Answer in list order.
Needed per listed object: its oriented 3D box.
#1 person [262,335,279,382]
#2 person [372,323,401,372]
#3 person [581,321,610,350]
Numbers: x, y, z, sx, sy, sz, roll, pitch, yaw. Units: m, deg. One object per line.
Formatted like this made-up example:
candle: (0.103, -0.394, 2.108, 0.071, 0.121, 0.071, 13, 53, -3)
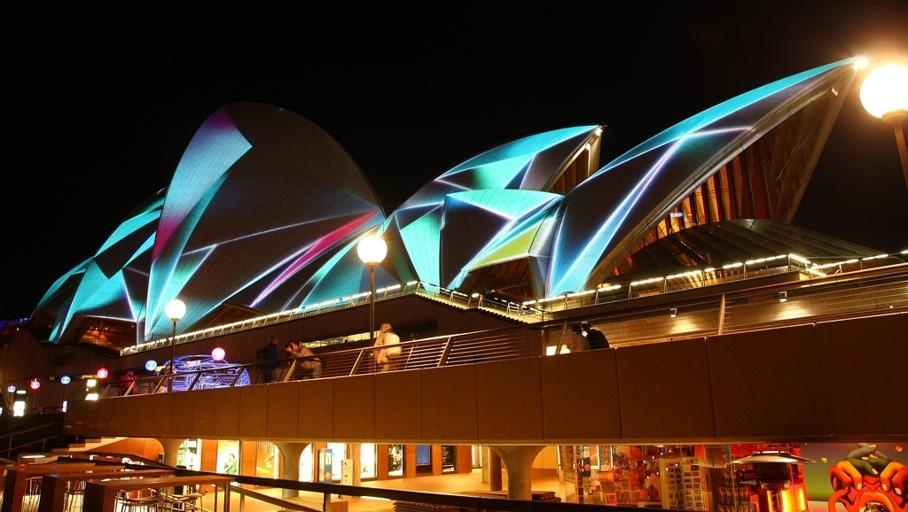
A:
person: (-7.057, 4.024, 25.344, 0.670, 1.904, 1.382, 5, -25, -16)
person: (-2.243, 3.169, 22.474, 0.971, 1.937, 1.402, 0, -24, -5)
person: (4.158, 2.307, 19.400, 0.660, 0.919, 0.377, -6, -25, 8)
